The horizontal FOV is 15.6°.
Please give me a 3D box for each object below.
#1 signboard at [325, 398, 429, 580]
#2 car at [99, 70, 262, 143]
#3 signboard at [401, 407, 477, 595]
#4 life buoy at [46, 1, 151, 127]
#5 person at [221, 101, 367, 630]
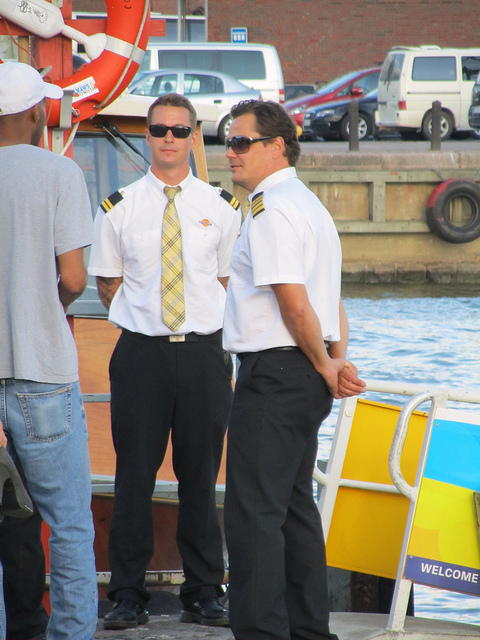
[{"bbox_3d":[0.562,0.692,7.324,0.362,0.871,0.070,6,31,-4],"label":"signboard"},{"bbox_3d":[-0.718,-2.303,19.301,1.852,1.093,1.175,6,2,-5],"label":"car"},{"bbox_3d":[0.796,0.709,6.867,0.285,0.672,0.232,2,12,6],"label":"signboard"},{"bbox_3d":[-0.609,-1.183,8.054,0.413,0.629,0.148,10,-12,23],"label":"life buoy"},{"bbox_3d":[0.207,0.188,6.653,0.537,1.900,0.723,1,12,1],"label":"person"}]
